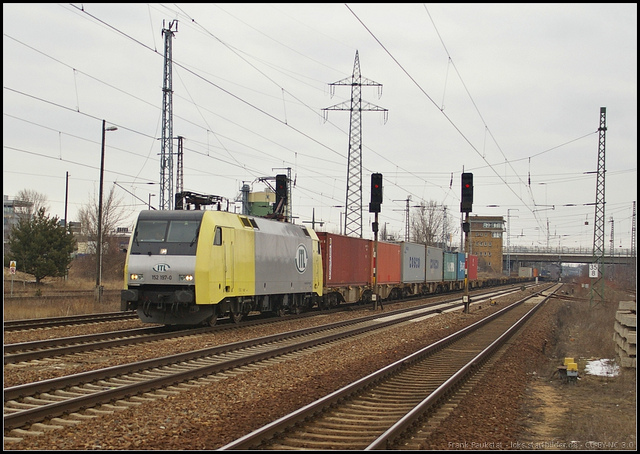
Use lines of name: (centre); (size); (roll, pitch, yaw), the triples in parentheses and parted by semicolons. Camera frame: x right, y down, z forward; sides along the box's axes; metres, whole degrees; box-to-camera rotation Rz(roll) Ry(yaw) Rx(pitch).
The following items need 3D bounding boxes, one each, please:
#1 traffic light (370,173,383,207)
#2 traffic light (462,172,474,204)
traffic light: (2.773, -1.799, 30.811); (0.527, 1.587, 0.288); (-2, -6, 26)
traffic light: (6.992, -1.827, 29.836); (0.457, 1.475, 0.943); (0, -6, 8)
